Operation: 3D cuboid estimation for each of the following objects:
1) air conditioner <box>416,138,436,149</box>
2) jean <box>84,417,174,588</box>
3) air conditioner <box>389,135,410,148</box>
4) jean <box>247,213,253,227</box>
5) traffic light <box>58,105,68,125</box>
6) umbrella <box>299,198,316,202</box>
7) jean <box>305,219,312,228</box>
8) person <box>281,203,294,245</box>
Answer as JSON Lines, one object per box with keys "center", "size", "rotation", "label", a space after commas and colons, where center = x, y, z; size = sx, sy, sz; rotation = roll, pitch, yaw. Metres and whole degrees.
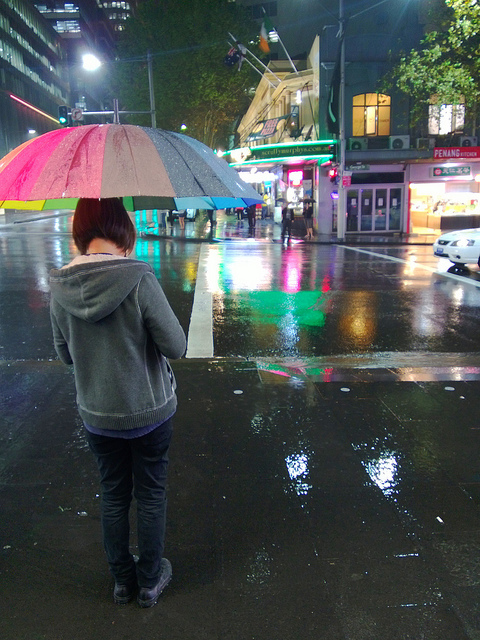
{"center": [10.997, -10.558, 30.337], "size": [1.047, 0.635, 0.559], "rotation": [-1, 10, -7], "label": "air conditioner"}
{"center": [-0.491, 0.776, 2.314], "size": [0.340, 0.982, 0.271], "rotation": [-3, 10, -9], "label": "jean"}
{"center": [9.220, -10.319, 29.702], "size": [1.236, 0.812, 0.676], "rotation": [1, 3, 10], "label": "air conditioner"}
{"center": [0.668, -6.462, 32.742], "size": [0.238, 0.865, 0.435], "rotation": [-1, 10, -5], "label": "jean"}
{"center": [-8.744, -10.294, 25.119], "size": [0.401, 1.020, 2.084], "rotation": [-3, 10, -16], "label": "traffic light"}
{"center": [3.765, -6.766, 28.642], "size": [0.525, 0.217, 0.836], "rotation": [-1, 10, -3], "label": "umbrella"}
{"center": [3.851, -5.503, 28.868], "size": [0.362, 0.456, 0.706], "rotation": [0, 10, 2], "label": "jean"}
{"center": [2.327, -4.755, 25.267], "size": [0.501, 1.783, 1.477], "rotation": [1, 10, 4], "label": "person"}
